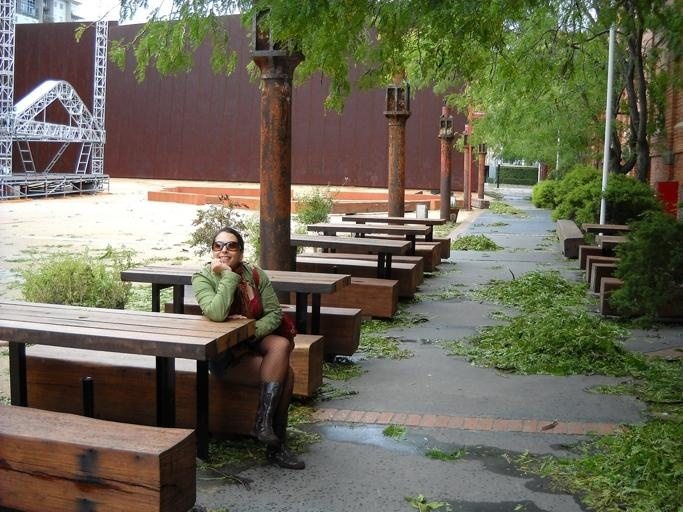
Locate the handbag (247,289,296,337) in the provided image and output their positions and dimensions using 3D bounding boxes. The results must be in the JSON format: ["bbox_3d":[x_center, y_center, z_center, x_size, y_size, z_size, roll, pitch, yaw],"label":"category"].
[{"bbox_3d":[-0.476,0.442,4.588,0.270,0.150,0.369,24,1,23],"label":"handbag"}]

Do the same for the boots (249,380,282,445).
[{"bbox_3d":[-0.488,1.050,4.159,0.178,0.378,0.165,-1,8,-6],"label":"boots"}]

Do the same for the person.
[{"bbox_3d":[-0.589,0.596,4.402,0.634,1.544,0.942,-7,11,-41],"label":"person"}]

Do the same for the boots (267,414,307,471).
[{"bbox_3d":[-0.357,1.278,4.246,0.167,0.320,0.343,1,5,-44],"label":"boots"}]
